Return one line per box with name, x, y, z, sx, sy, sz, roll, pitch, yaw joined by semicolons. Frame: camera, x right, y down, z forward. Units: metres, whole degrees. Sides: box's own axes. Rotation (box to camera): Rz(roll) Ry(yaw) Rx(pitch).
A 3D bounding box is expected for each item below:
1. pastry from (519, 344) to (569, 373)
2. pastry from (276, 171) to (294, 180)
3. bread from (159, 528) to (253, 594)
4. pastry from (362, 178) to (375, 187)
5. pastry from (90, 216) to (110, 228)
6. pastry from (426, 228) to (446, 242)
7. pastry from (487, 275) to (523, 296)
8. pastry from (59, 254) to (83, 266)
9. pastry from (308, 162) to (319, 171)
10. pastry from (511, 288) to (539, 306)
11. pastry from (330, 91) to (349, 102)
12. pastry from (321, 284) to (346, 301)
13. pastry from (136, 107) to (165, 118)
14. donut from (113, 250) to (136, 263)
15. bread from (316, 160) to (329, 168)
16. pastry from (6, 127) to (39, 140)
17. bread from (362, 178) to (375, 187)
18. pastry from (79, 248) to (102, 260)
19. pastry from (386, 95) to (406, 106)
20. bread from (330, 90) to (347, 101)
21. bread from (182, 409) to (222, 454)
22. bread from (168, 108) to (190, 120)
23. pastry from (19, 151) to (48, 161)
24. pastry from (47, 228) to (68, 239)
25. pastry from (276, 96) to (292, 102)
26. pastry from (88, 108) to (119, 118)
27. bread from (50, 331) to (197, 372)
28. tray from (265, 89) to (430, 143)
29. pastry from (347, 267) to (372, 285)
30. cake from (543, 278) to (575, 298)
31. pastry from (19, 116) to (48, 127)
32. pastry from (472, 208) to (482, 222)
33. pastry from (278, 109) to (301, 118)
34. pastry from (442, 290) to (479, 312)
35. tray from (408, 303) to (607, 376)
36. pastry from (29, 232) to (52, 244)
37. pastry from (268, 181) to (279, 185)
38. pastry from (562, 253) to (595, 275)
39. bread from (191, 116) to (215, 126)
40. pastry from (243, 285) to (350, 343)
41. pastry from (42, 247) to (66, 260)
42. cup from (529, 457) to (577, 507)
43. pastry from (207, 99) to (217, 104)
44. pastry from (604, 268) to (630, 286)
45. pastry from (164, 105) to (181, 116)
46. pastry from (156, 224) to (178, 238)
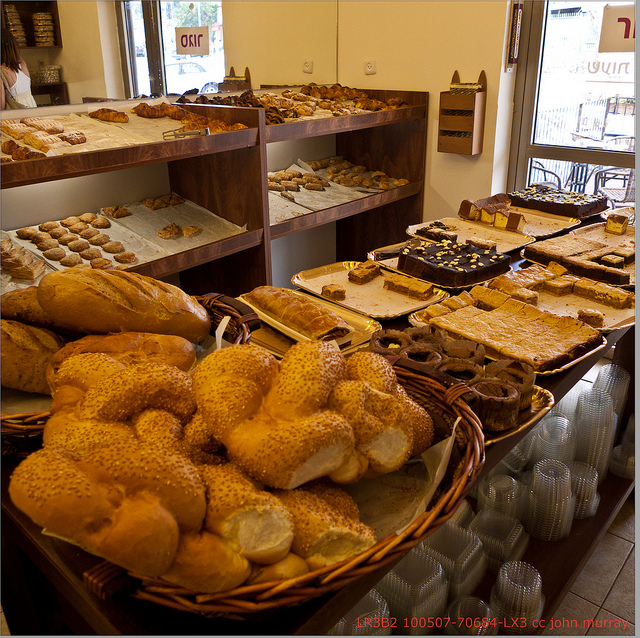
pastry;0.530;0.093;1.171;0.086;0.018;0.083;-17;30;-20
pastry;-0.221;-0.959;3.275;0.083;0.022;0.081;17;16;-32
bread;-0.111;0.241;0.490;0.074;0.024;0.057;26;44;14
pastry;0.334;-0.945;3.437;0.081;0.026;0.089;10;29;7
pastry;-1.039;-0.463;2.368;0.085;0.035;0.100;3;21;6
pastry;0.493;-0.364;2.098;0.053;0.032;0.069;14;31;29
pastry;0.588;-0.111;1.583;0.073;0.019;0.071;-23;40;-22
pastry;-1.021;-0.243;2.046;0.086;0.034;0.075;-19;29;-41
pastry;-0.049;-1.092;3.546;0.065;0.058;0.067;-13;60;-8
pastry;0.627;-0.072;1.518;0.064;0.040;0.063;-19;26;-35
pastry;0.136;-1.569;3.501;0.109;0.045;0.140;4;37;7
pastry;0.048;-0.094;1.605;0.058;0.034;0.056;3;16;-6
pastry;-0.871;-1.061;2.557;0.075;0.030;0.097;0;12;-9
donut;-0.826;-0.270;2.122;0.083;0.033;0.094;2;21;5
bread;0.020;-1.142;3.648;0.088;0.020;0.080;-9;39;-17
pastry;-1.241;-0.771;2.066;0.089;0.024;0.094;35;48;30
bread;0.331;-0.944;3.435;0.083;0.025;0.086;5;29;5
pastry;-0.973;-0.286;2.110;0.056;0.019;0.059;-11;29;-23
pastry;0.511;-1.511;3.431;0.092;0.044;0.112;-1;24;-1
bread;0.130;-1.574;3.507;0.094;0.039;0.126;1;35;6
bread;-0.157;0.144;0.634;0.048;0.019;0.058;-2;68;-1
bread;-0.720;-1.052;2.518;0.066;0.022;0.082;-32;42;-22
pastry;-1.017;-0.576;1.755;0.086;0.025;0.079;-17;24;-25
pastry;-1.157;-0.380;2.191;0.047;0.030;0.061;6;14;22
pastry;-0.224;-1.349;3.048;0.100;0.032;0.101;-9;26;-32
pastry;-1.102;-1.042;2.505;0.094;0.027;0.086;13;30;34
bread;-0.321;0.047;0.854;0.146;0.046;0.108;3;2;-22
tray;0.186;-1.255;2.987;0.430;0.325;1.505;13;25;30
pastry;0.130;-0.151;1.720;0.054;0.021;0.069;15;30;31
cake;0.791;-0.114;1.649;0.061;0.023;0.063;20;39;39
pastry;-1.318;-0.907;2.282;0.103;0.028;0.110;28;38;35
pastry;0.741;-0.489;2.331;0.012;0.044;0.048;8;2;-10
pastry;-0.170;-1.162;2.812;0.119;0.034;0.113;-3;33;-5
pastry;0.420;-0.054;1.482;0.068;0.023;0.066;-21;35;-16
tray;0.446;0.074;1.298;0.238;0.035;0.313;-19;32;-34
pastry;-1.201;-0.355;2.137;0.060;0.021;0.049;-11;28;-26
pastry;-0.294;-0.849;3.090;0.060;0.013;0.061;-1;21;-3
pastry;0.933;-0.209;1.789;0.092;0.024;0.086;-16;32;-19
bread;-0.573;-0.982;2.456;0.075;0.029;0.099;22;36;27
pastry;-0.066;-0.031;1.276;0.122;0.054;0.245;-21;38;-41
pastry;-1.095;-0.275;2.051;0.069;0.021;0.052;-5;26;-11
cup;0.677;0.480;1.508;0.113;0.130;0.139;-3;11;5
pastry;-0.631;-1.276;2.906;0.051;0.014;0.049;-26;41;-29
pastry;1.005;-0.147;1.701;0.056;0.066;0.094;-5;11;-16
pastry;-0.761;-1.084;2.578;0.068;0.016;0.069;-23;52;-9
pastry;-0.722;-0.429;2.380;0.054;0.023;0.088;18;30;3
